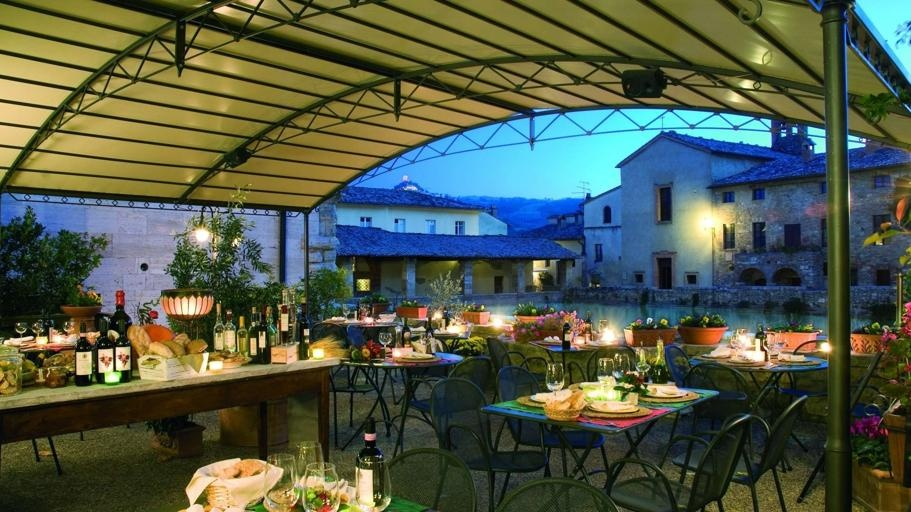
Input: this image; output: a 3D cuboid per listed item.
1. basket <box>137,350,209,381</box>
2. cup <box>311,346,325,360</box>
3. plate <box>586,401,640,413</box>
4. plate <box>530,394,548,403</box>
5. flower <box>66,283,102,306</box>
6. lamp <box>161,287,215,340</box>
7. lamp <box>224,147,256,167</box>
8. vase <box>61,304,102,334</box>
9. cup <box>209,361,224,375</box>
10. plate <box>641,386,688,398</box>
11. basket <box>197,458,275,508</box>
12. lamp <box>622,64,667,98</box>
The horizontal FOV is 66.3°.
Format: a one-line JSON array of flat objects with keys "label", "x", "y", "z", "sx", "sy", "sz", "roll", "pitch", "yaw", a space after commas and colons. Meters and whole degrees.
[{"label": "basket", "x": -3.370, "y": 1.285, "z": 8.314, "sx": 0.372, "sy": 0.211, "sz": 0.570, "roll": -2, "pitch": -3, "yaw": 32}, {"label": "cup", "x": -1.827, "y": 1.290, "z": 9.227, "sx": 0.186, "sy": 0.160, "sz": 0.180, "roll": 1, "pitch": 0, "yaw": 0}, {"label": "plate", "x": 1.786, "y": 1.720, "z": 7.966, "sx": 0.575, "sy": 0.105, "sz": 0.250, "roll": -2, "pitch": -3, "yaw": 12}, {"label": "plate", "x": 0.981, "y": 1.678, "z": 8.203, "sx": 0.219, "sy": 0.100, "sz": 0.322, "roll": -1, "pitch": -3, "yaw": 5}, {"label": "flower", "x": -8.178, "y": 0.876, "z": 15.259, "sx": 0.595, "sy": 0.307, "sz": 0.560, "roll": 3, "pitch": 0, "yaw": 37}, {"label": "lamp", "x": -3.600, "y": 0.737, "z": 9.485, "sx": 0.893, "sy": 0.883, "sz": 0.849, "roll": 0, "pitch": -1, "yaw": -18}, {"label": "lamp", "x": -4.242, "y": -1.918, "z": 13.650, "sx": 0.531, "sy": 0.350, "sz": 0.543, "roll": 0, "pitch": -3, "yaw": -24}, {"label": "vase", "x": -7.204, "y": 1.218, "z": 13.385, "sx": 0.693, "sy": 0.527, "sz": 0.681, "roll": 1, "pitch": -2, "yaw": -45}, {"label": "cup", "x": -2.930, "y": 1.371, "z": 8.532, "sx": 0.153, "sy": 0.136, "sz": 0.146, "roll": -3, "pitch": 0, "yaw": 0}, {"label": "plate", "x": 2.486, "y": 1.633, "z": 8.388, "sx": 0.573, "sy": 0.126, "sz": 0.347, "roll": 0, "pitch": -3, "yaw": -21}, {"label": "basket", "x": -2.062, "y": 2.127, "z": 6.554, "sx": 0.565, "sy": 0.233, "sz": 0.542, "roll": 0, "pitch": -1, "yaw": 23}, {"label": "lamp", "x": 3.117, "y": -2.870, "z": 11.581, "sx": 0.616, "sy": 0.402, "sz": 0.502, "roll": 3, "pitch": 4, "yaw": 25}]
